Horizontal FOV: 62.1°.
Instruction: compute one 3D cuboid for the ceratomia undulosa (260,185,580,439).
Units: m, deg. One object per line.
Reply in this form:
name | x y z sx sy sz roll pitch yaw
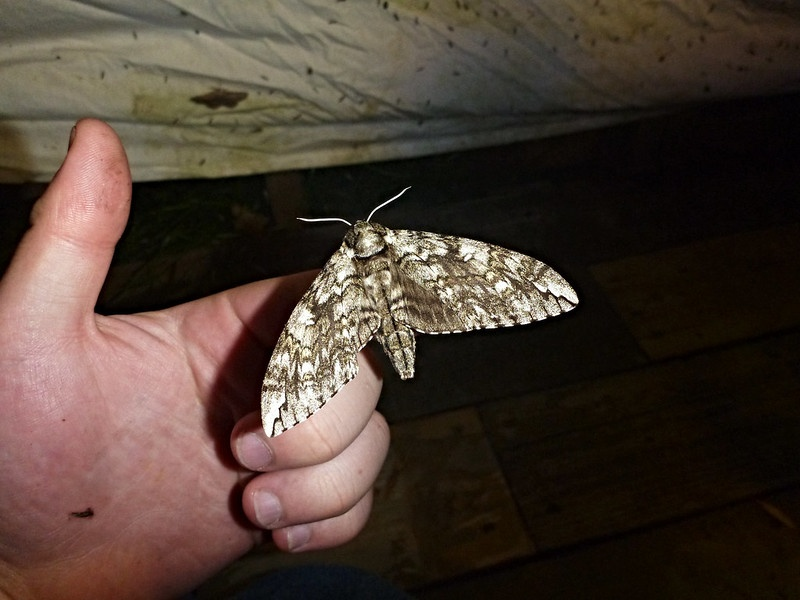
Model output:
ceratomia undulosa | -0.039 -0.005 1.976 0.979 0.192 0.485 -23 60 -12
